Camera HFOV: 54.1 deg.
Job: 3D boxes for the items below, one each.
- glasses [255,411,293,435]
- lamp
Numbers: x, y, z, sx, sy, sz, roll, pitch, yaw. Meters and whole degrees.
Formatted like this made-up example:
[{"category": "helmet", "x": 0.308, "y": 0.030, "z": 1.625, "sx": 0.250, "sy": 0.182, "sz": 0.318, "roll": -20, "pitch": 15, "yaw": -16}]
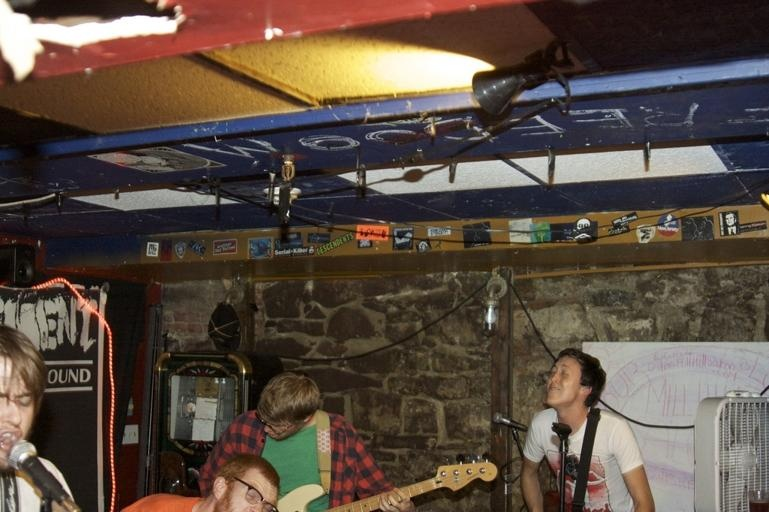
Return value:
[{"category": "glasses", "x": -0.731, "y": 1.122, "z": 5.054, "sx": 0.235, "sy": 0.160, "sz": 0.221, "roll": -1, "pitch": -11, "yaw": 15}, {"category": "lamp", "x": 0.656, "y": -0.798, "z": 3.556, "sx": 0.459, "sy": 0.248, "sz": 0.487, "roll": -2, "pitch": -11, "yaw": 17}]
